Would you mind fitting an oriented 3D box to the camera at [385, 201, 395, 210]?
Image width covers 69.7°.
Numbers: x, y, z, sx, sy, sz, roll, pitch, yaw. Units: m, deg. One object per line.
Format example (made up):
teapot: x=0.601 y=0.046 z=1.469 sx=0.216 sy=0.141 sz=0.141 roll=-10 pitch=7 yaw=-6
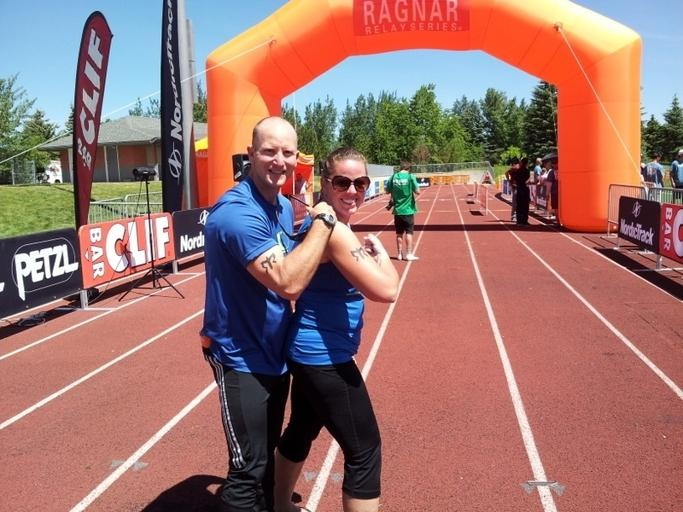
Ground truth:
camera: x=1.214 y=-1.220 z=11.961 sx=0.199 sy=0.300 sz=0.613 roll=2 pitch=5 yaw=-5
